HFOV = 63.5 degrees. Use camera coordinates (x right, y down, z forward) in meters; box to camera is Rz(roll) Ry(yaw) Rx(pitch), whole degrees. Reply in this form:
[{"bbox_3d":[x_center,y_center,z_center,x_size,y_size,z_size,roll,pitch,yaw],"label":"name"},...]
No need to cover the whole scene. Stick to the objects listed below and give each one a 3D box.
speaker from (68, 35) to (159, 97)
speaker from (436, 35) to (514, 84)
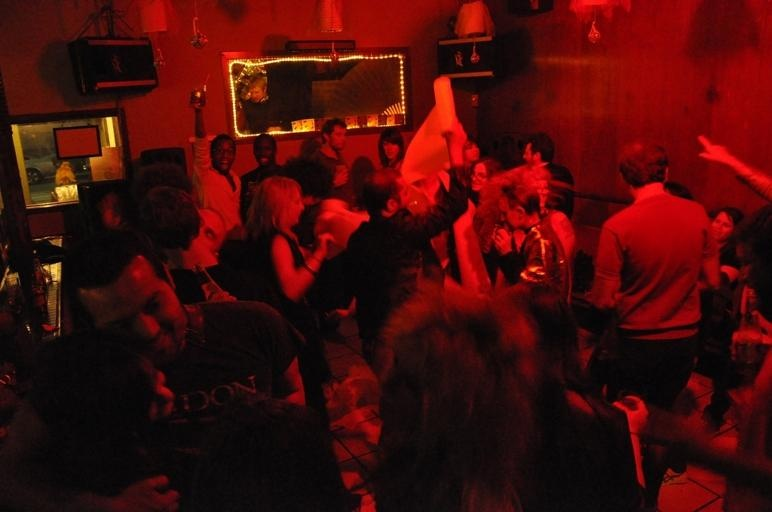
[{"bbox_3d":[-2.389,-1.665,5.414,0.225,0.335,0.444,19,28,40],"label":"speaker"},{"bbox_3d":[0.949,-2.082,6.825,0.846,0.473,0.552,4,10,21],"label":"speaker"}]
